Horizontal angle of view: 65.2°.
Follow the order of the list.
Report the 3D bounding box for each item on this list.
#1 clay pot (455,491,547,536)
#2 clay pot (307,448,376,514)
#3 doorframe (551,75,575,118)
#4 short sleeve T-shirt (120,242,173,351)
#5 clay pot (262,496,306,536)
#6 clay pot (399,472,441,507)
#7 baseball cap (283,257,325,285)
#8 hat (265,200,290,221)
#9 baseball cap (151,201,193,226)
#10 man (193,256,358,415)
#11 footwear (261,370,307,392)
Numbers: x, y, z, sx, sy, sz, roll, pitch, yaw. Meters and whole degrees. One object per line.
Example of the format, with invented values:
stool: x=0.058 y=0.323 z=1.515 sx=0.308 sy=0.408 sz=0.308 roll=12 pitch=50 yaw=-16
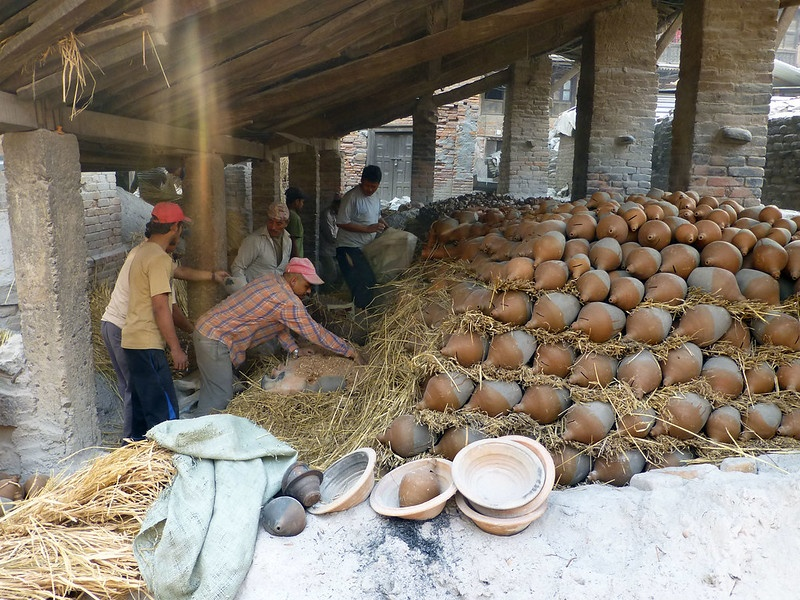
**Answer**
clay pot: x=0.549 y=1.152 z=3.316 sx=0.290 sy=0.086 sz=0.271 roll=4 pitch=4 yaw=0
clay pot: x=-0.286 y=1.064 z=3.683 sx=0.348 sy=0.123 sz=0.328 roll=-32 pitch=21 yaw=14
doorframe: x=5.514 y=-6.856 z=21.129 sx=0.714 sy=1.321 sz=0.715 roll=4 pitch=13 yaw=15
short sleeve T-shirt: x=-1.951 y=-0.008 z=4.814 sx=0.389 sy=0.811 sz=0.747 roll=-6 pitch=15 yaw=-36
clay pot: x=-0.619 y=1.170 z=3.476 sx=0.273 sy=0.116 sz=0.263 roll=17 pitch=-20 yaw=7
clay pot: x=0.113 y=1.056 z=3.466 sx=0.231 sy=0.163 sz=0.182 roll=0 pitch=12 yaw=-5
baseball cap: x=-0.809 y=-0.257 z=5.240 sx=0.318 sy=0.154 sz=0.195 roll=15 pitch=6 yaw=-13
hat: x=-1.171 y=-0.862 z=6.005 sx=0.157 sy=0.170 sz=0.190 roll=-10 pitch=23 yaw=-25
baseball cap: x=-1.852 y=-0.704 z=5.075 sx=0.170 sy=0.123 sz=0.257 roll=17 pitch=22 yaw=41
man: x=-1.169 y=0.357 z=5.588 sx=1.470 sy=1.496 sz=0.635 roll=2 pitch=48 yaw=-30
footwear: x=-1.009 y=0.719 z=5.421 sx=0.282 sy=0.122 sz=0.208 roll=11 pitch=-11 yaw=-5
